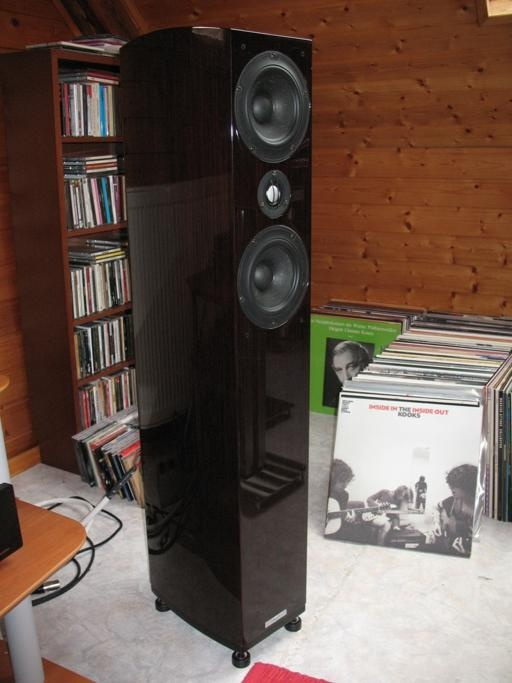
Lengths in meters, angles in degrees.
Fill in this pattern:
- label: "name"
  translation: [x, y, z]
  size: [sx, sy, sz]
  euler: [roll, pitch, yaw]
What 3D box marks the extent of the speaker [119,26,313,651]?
- label: "speaker"
  translation: [-0.084, 0.085, 1.122]
  size: [0.382, 1.265, 0.347]
  euler: [0, 12, 1]
